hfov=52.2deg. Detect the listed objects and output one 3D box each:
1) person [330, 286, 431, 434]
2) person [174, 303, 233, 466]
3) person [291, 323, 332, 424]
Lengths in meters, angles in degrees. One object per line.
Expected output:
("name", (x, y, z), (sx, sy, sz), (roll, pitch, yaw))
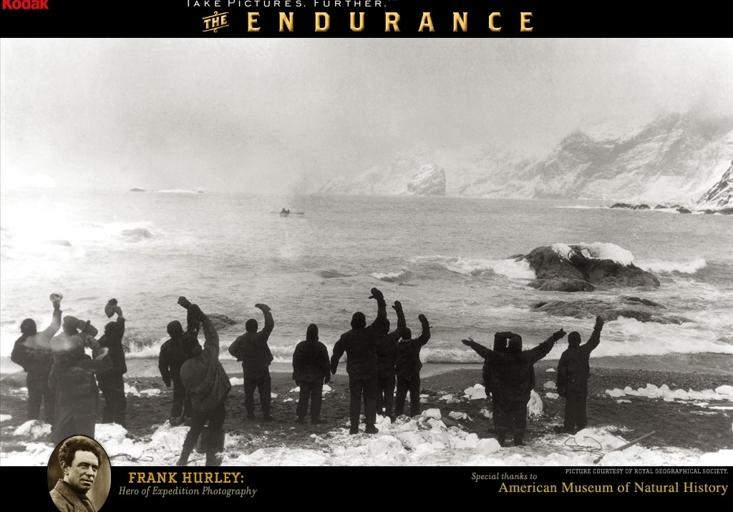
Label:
("person", (0.077, 2.193, 15.847), (1.529, 3.086, 0.677), (-5, 9, -29))
("person", (-3.183, 2.549, 14.432), (0.862, 3.494, 0.850), (6, 11, 40))
("person", (-1.178, 2.541, 16.187), (0.791, 2.261, 0.642), (-2, 8, -5))
